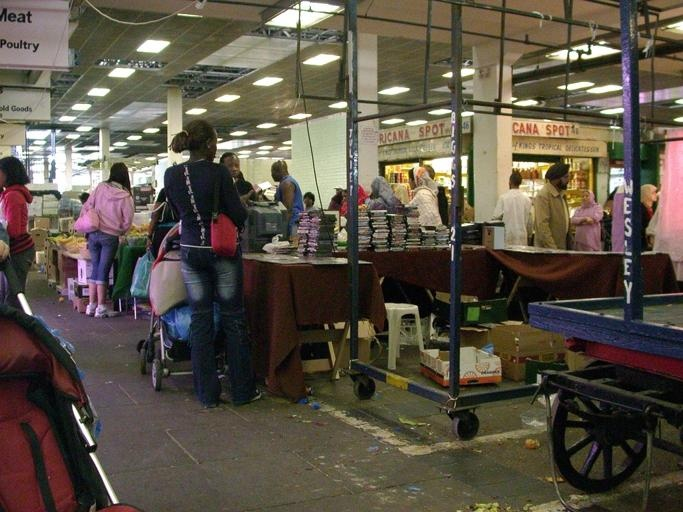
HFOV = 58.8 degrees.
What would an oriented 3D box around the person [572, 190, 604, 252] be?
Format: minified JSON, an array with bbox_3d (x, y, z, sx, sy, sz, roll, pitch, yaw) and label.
[{"bbox_3d":[3.459,-0.501,8.544,0.397,0.831,0.984,2,6,21],"label":"person"}]

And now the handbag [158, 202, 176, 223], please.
[{"bbox_3d":[-1.589,-0.400,5.514,0.126,0.227,0.160,-8,10,-31],"label":"handbag"}]

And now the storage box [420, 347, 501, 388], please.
[{"bbox_3d":[1.112,0.952,5.351,0.684,0.290,0.530,-1,6,-13],"label":"storage box"}]

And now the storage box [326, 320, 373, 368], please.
[{"bbox_3d":[0.126,0.815,5.786,0.560,0.545,0.406,0,0,-16],"label":"storage box"}]

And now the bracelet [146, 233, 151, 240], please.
[{"bbox_3d":[-1.765,-0.180,5.599,0.046,0.045,0.082,0,-9,-7],"label":"bracelet"}]

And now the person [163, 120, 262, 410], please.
[{"bbox_3d":[-1.033,0.043,4.846,0.725,2.285,0.437,0,5,-3],"label":"person"}]

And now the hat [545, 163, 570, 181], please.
[{"bbox_3d":[2.629,-1.033,7.397,0.252,0.218,0.303,2,6,17],"label":"hat"}]

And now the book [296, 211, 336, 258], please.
[{"bbox_3d":[-0.238,-0.216,5.736,0.361,0.438,0.494,0,5,-4],"label":"book"}]

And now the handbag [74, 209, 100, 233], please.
[{"bbox_3d":[-3.387,-0.465,7.985,0.368,0.342,0.197,3,6,32],"label":"handbag"}]

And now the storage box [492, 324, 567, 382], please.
[{"bbox_3d":[1.701,0.863,5.582,0.538,0.445,0.459,-3,6,-23],"label":"storage box"}]

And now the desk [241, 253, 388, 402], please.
[{"bbox_3d":[-0.559,0.433,5.606,1.329,1.092,1.659,-3,15,-33],"label":"desk"}]

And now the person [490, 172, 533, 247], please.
[{"bbox_3d":[2.225,-0.600,7.703,0.589,0.923,0.320,-3,6,-24],"label":"person"}]

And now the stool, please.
[{"bbox_3d":[0.562,0.707,5.953,0.501,0.424,0.505,2,6,6],"label":"stool"}]

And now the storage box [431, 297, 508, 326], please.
[{"bbox_3d":[1.180,0.500,5.571,0.396,0.160,0.392,-2,-2,-27],"label":"storage box"}]

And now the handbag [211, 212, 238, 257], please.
[{"bbox_3d":[-0.897,-0.166,4.735,0.267,0.339,0.182,-4,6,-34],"label":"handbag"}]
